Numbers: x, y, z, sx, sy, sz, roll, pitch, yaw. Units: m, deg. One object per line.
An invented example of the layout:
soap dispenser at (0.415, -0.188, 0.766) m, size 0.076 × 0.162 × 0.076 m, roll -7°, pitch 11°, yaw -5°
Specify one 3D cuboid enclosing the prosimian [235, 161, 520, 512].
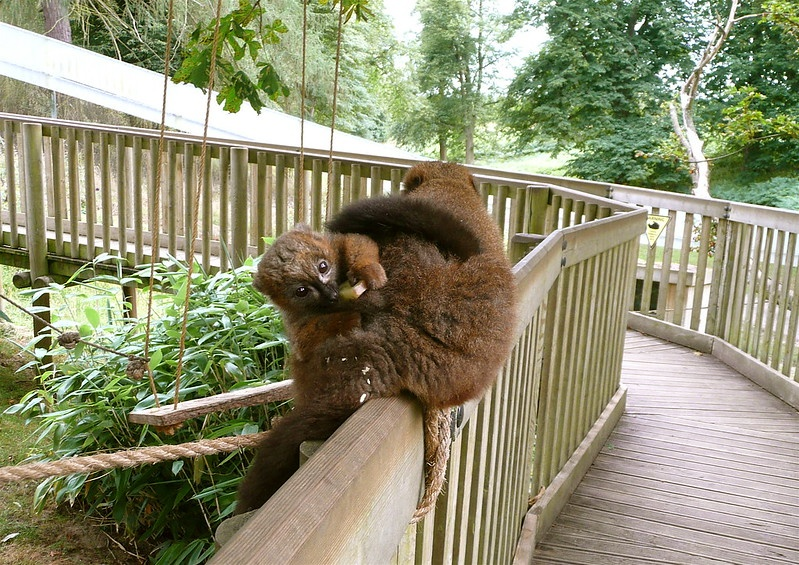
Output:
prosimian at (-0.046, 0.190, 1.684) m, size 0.701 × 0.857 × 0.471 m, roll 2°, pitch 9°, yaw 16°
